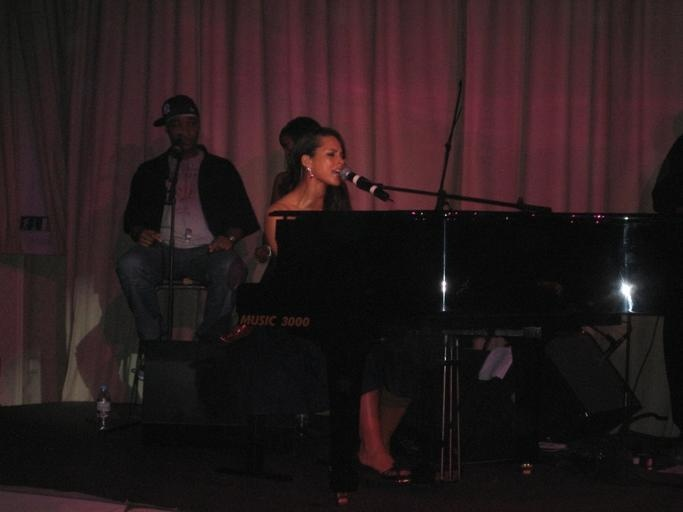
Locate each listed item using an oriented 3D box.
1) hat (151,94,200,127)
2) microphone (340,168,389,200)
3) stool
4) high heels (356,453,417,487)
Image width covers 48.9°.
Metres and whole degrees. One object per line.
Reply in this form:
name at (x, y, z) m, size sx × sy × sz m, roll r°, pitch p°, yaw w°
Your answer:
hat at (-1.112, -1.035, 5.232) m, size 0.277 × 0.142 × 0.210 m, roll -13°, pitch 6°, yaw -4°
microphone at (0.128, -0.369, 3.882) m, size 0.207 × 0.157 × 0.481 m, roll -1°, pitch 8°, yaw -12°
stool at (-1.131, 0.649, 4.883) m, size 0.504 × 0.955 × 1.524 m, roll -1°, pitch 8°, yaw -11°
high heels at (0.227, 1.104, 3.817) m, size 0.302 × 0.132 × 0.113 m, roll -5°, pitch -9°, yaw 16°
